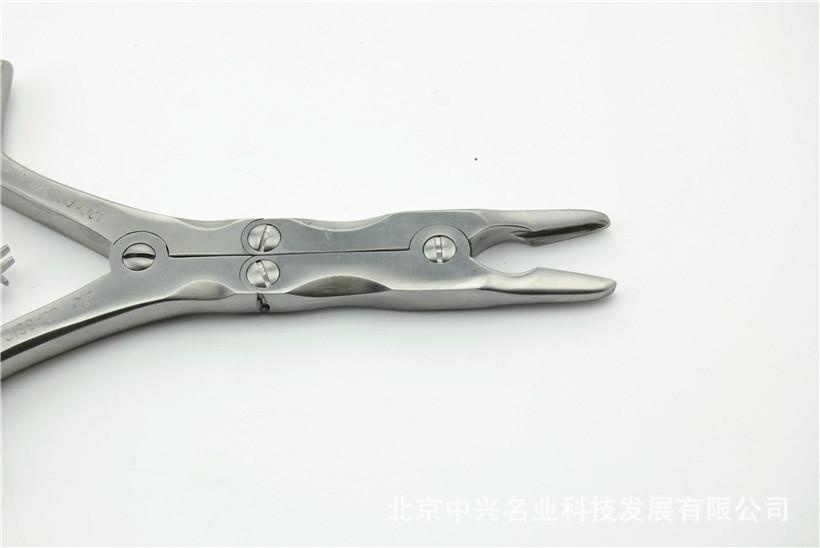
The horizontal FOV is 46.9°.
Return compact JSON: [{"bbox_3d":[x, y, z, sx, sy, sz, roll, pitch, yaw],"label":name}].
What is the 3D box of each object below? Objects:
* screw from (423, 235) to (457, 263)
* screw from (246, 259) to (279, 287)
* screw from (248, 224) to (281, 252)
[{"bbox_3d":[0.050,-0.043,1.655,0.050,0.046,0.011,2,-15,-1],"label":"screw"},{"bbox_3d":[-0.255,0.002,1.647,0.049,0.045,0.009,-2,-10,-1],"label":"screw"},{"bbox_3d":[-0.255,-0.059,1.664,0.050,0.046,0.011,7,-11,4],"label":"screw"}]
